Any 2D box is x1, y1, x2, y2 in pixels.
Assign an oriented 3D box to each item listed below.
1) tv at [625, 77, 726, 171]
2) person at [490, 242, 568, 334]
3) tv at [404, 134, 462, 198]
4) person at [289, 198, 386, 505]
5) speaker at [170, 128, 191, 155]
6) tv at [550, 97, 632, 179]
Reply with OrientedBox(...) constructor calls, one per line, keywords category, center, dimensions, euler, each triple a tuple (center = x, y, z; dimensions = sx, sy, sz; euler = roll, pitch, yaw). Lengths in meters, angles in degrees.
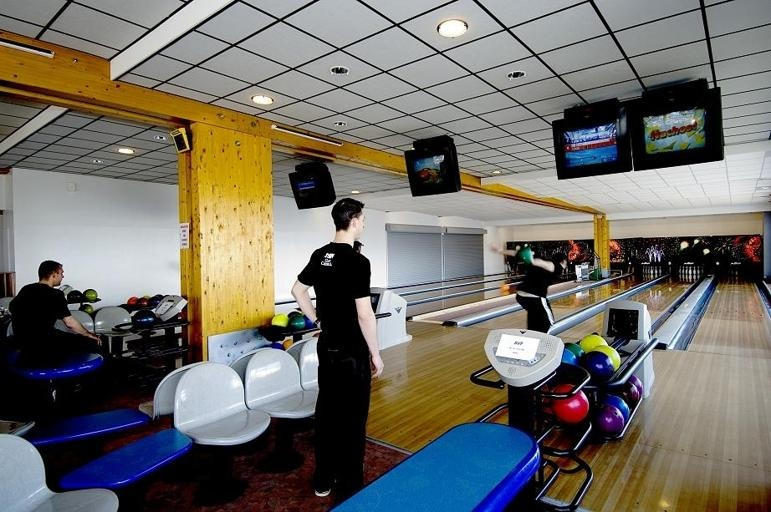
OrientedBox(category="tv", center=(2.725, -1.251, 4.151), dimensions=(0.951, 0.782, 0.510), euler=(-2, -1, 38))
OrientedBox(category="person", center=(3.092, 0.692, 9.501), dimensions=(1.105, 1.789, 1.578), euler=(-17, 12, -13))
OrientedBox(category="tv", center=(0.606, -1.166, 5.589), dimensions=(0.807, 0.786, 0.480), euler=(-3, 6, 35))
OrientedBox(category="person", center=(-0.327, 0.665, 3.199), dimensions=(0.481, 1.847, 0.610), euler=(-6, 2, -31))
OrientedBox(category="speaker", center=(-2.173, -1.222, 4.672), dimensions=(0.252, 0.268, 0.133), euler=(-3, 2, 35))
OrientedBox(category="tv", center=(2.110, -1.211, 4.480), dimensions=(0.889, 0.855, 0.528), euler=(-5, -3, 36))
